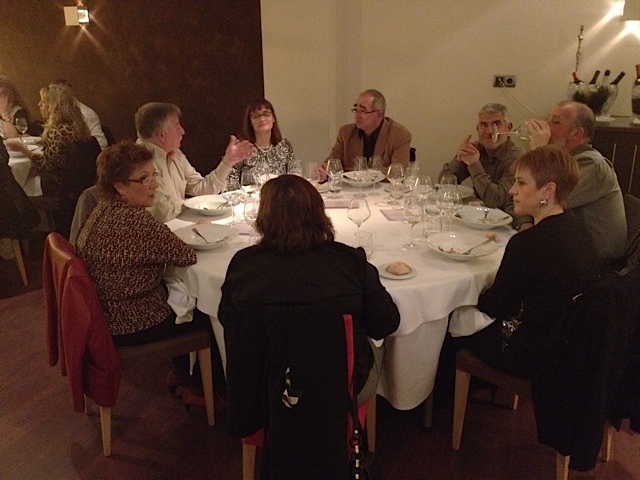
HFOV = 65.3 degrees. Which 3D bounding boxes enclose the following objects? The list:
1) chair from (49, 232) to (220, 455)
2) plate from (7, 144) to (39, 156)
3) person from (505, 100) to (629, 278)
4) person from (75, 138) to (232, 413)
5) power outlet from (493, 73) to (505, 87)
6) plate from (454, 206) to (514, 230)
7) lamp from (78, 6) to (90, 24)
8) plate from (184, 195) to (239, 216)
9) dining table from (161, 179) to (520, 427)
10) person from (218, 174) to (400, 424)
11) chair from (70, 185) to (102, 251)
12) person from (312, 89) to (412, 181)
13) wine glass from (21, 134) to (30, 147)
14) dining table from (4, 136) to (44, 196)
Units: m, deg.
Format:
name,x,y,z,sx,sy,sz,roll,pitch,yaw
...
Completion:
name,x,y,z,sx,sy,sz,roll,pitch,yaw
chair,-1.031,0.459,2.697,0.777,1.101,0.891,6,23,2
plate,-2.261,-0.672,3.806,0.181,0.105,0.014,-13,22,-38
person,1.550,-0.261,3.141,0.488,1.130,0.440,14,26,38
person,-0.891,0.211,2.703,0.705,1.393,0.546,-7,14,-35
power outlet,1.708,-1.499,4.774,0.144,0.119,0.087,5,31,14
plate,0.934,-0.132,2.888,0.197,0.047,0.210,-1,25,-3
lamp,-1.933,-1.822,4.078,0.091,0.115,0.123,-10,-9,-18
plate,-0.702,-0.221,3.134,0.177,0.047,0.189,-11,33,-24
dining table,0.402,0.261,2.412,1.220,0.566,1.286,1,36,2
person,-0.057,0.287,2.071,0.662,1.026,0.339,0,17,-7
chair,-1.591,-0.127,3.248,0.104,0.362,0.137,12,16,-47
person,0.395,-0.694,4.226,0.693,1.104,0.715,10,17,29
wine glass,-2.236,-0.738,3.792,0.051,0.081,0.063,1,15,4
dining table,-2.271,-0.594,3.916,0.329,0.334,0.322,-17,32,-38
